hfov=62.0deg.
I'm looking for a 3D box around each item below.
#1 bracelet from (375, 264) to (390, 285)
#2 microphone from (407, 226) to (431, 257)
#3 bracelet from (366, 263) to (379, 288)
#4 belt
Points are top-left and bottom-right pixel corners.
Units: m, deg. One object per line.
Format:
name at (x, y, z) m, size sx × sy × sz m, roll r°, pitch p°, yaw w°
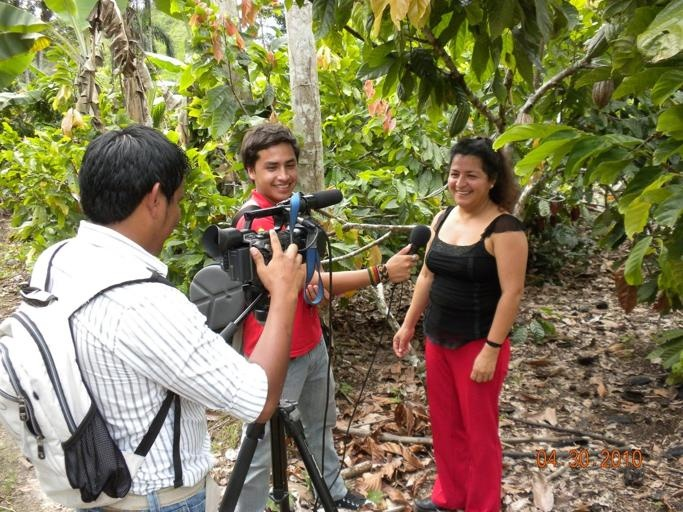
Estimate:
bracelet at (0.220, 0.109, 3.213) m, size 0.086 × 0.090 × 0.091 m, roll -9°, pitch -24°, yaw -11°
microphone at (0.432, -0.085, 3.156) m, size 0.098 × 0.189 × 0.264 m, roll 6°, pitch 8°, yaw 8°
bracelet at (0.168, 0.114, 3.249) m, size 0.067 × 0.092 × 0.089 m, roll -1°, pitch 8°, yaw -14°
belt at (-0.692, 0.887, 2.129) m, size 0.202 × 0.051 × 0.148 m, roll -1°, pitch -3°, yaw -16°
